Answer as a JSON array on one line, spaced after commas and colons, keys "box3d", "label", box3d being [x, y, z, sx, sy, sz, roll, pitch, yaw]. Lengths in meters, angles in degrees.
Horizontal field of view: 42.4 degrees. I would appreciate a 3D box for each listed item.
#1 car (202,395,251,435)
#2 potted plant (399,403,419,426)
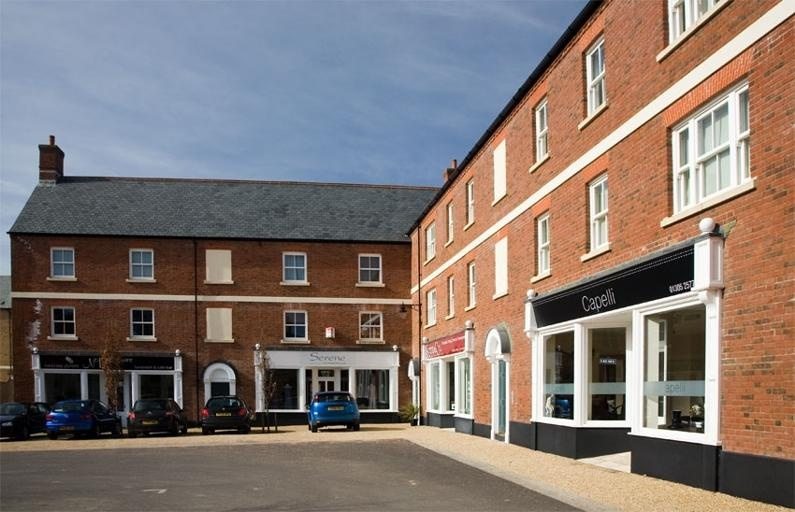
[{"box3d": [-6.311, 5.890, 37.602, 1.638, 1.096, 3.473, 0, -5, -6], "label": "car"}, {"box3d": [0.553, 6.747, 43.405, 0.921, 0.907, 0.901, 2, -13, -2], "label": "potted plant"}]
